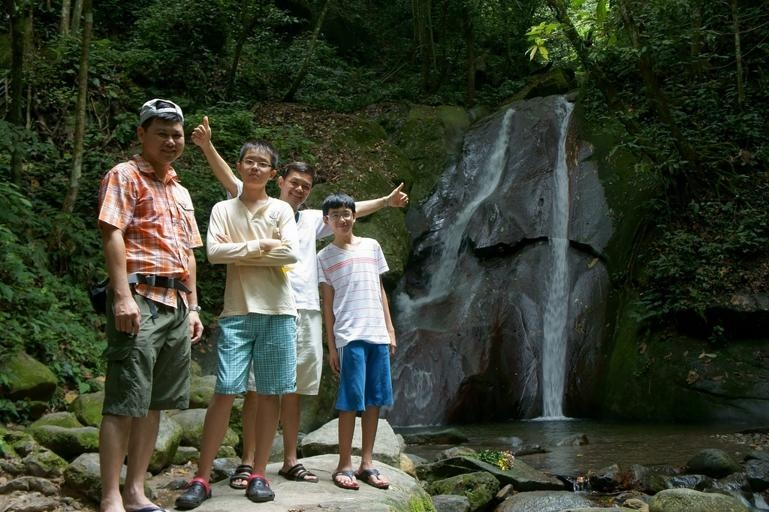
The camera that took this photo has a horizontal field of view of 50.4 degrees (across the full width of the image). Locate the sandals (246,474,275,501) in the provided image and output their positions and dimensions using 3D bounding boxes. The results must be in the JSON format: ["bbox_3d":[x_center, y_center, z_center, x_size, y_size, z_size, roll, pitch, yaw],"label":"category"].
[{"bbox_3d":[-1.375,2.617,9.106,0.318,0.287,0.155,0,-3,-8],"label":"sandals"}]

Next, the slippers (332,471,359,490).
[{"bbox_3d":[-0.444,2.622,9.456,0.303,0.214,0.164,0,-3,-5],"label":"slippers"}]

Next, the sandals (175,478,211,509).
[{"bbox_3d":[-2.120,2.680,9.046,0.189,0.214,0.487,1,-10,17],"label":"sandals"}]

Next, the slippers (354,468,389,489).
[{"bbox_3d":[-0.157,2.648,9.624,0.424,0.138,0.176,5,11,40],"label":"slippers"}]

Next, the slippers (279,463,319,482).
[{"bbox_3d":[-0.990,2.537,9.507,0.413,0.152,0.179,-1,0,27],"label":"slippers"}]

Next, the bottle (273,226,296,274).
[{"bbox_3d":[-1.164,-0.031,9.588,0.326,0.446,0.162,4,0,-19],"label":"bottle"}]

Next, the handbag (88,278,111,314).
[{"bbox_3d":[-3.126,0.460,9.203,0.283,0.377,0.391,-4,-7,-25],"label":"handbag"}]
